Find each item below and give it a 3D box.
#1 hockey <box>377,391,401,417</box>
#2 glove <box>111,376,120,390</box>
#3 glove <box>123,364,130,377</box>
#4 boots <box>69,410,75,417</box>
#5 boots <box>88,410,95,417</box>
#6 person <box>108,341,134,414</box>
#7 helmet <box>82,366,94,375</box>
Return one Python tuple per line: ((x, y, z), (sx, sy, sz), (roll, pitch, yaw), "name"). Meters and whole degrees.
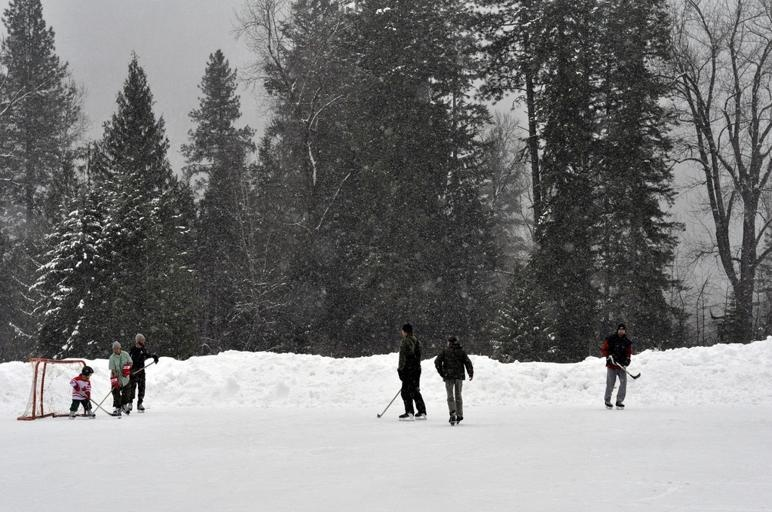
((0.119, 6.956, 57.712), (1.570, 0.272, 0.277), (-49, -14, 31), "hockey")
((-12.115, 5.686, 55.097), (0.304, 0.500, 0.492), (-3, -15, 8), "glove")
((-11.648, 5.151, 55.415), (0.288, 0.632, 0.511), (-5, -8, 29), "glove")
((-14.062, 7.033, 54.996), (0.269, 0.275, 0.265), (3, -3, -3), "boots")
((-13.184, 7.044, 54.999), (0.374, 0.338, 0.602), (1, -8, -17), "boots")
((-11.958, 5.557, 55.420), (0.919, 3.191, 1.439), (-4, -8, 23), "person")
((-13.282, 5.104, 54.777), (0.435, 0.403, 0.337), (-16, -3, 7), "helmet")
